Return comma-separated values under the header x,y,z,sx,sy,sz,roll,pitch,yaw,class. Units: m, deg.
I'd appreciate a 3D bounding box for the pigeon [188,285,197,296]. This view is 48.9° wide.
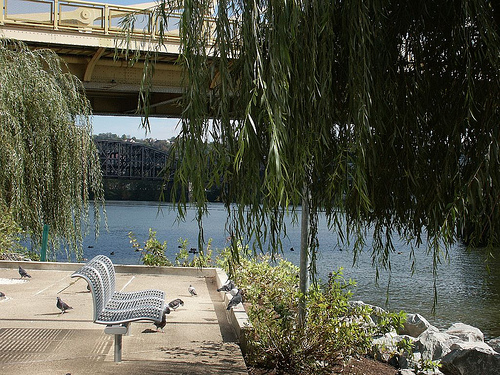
x,y,z,sx,sy,sz,roll,pitch,yaw,class
-0.831,1.465,7.919,0.081,0.156,0.169,-4,4,-31,pigeon

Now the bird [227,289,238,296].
x,y,z,sx,sy,sz,roll,pitch,yaw,class
-0.198,1.301,6.932,0.081,0.071,0.131,0,-5,18,bird

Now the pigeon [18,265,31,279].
x,y,z,sx,sy,sz,roll,pitch,yaw,class
-3.514,1.318,8.598,0.172,0.203,0.441,2,1,-23,pigeon

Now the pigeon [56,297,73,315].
x,y,z,sx,sy,sz,roll,pitch,yaw,class
-2.298,1.424,6.749,0.090,0.275,0.308,-6,-16,13,pigeon

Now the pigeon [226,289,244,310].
x,y,z,sx,sy,sz,roll,pitch,yaw,class
-0.167,1.339,6.591,0.155,0.223,0.384,2,1,13,pigeon

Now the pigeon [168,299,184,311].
x,y,z,sx,sy,sz,roll,pitch,yaw,class
-0.898,1.398,6.699,0.100,0.167,0.056,15,-6,41,pigeon

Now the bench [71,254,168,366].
x,y,z,sx,sy,sz,roll,pitch,yaw,class
-1.303,0.847,5.734,0.709,0.946,1.441,1,2,-6,bench
